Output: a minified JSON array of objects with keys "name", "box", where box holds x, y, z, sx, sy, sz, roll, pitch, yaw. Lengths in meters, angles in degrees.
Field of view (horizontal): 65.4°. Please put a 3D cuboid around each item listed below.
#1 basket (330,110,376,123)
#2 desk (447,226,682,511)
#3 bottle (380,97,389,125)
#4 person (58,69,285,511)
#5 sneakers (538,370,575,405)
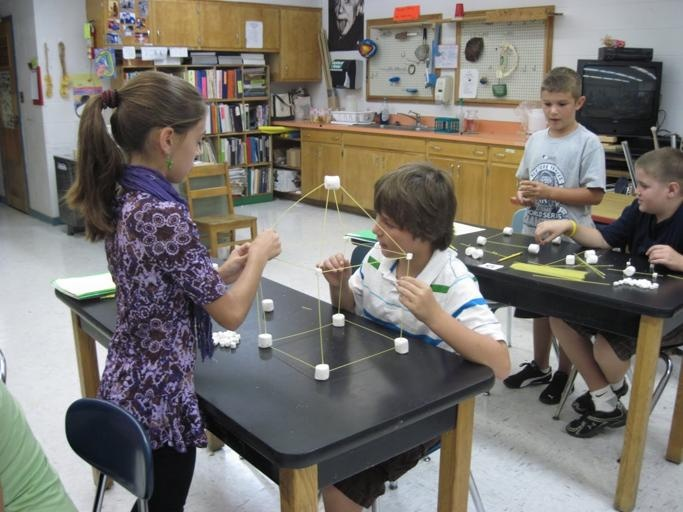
[{"name":"basket","box":[0.152,-1.874,7.222,0.605,0.167,0.421,1,17,5]},{"name":"desk","box":[1.201,0.630,2.801,1.221,1.011,0.942,15,24,41]},{"name":"bottle","box":[0.594,-1.956,7.221,0.129,0.313,0.100,-1,16,0]},{"name":"person","box":[-0.479,0.262,1.577,0.601,1.539,0.481,-2,16,-5]},{"name":"sneakers","box":[1.199,0.740,2.985,0.091,0.111,0.270,16,47,46]}]
